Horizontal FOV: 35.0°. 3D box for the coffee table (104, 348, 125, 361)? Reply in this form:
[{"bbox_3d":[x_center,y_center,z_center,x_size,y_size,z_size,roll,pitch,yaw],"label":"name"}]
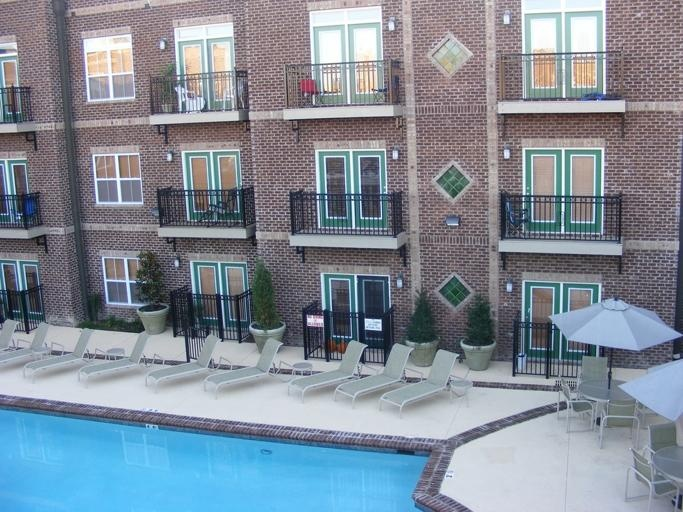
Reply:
[{"bbox_3d":[-6.699,2.903,32.200,0.392,0.261,0.405,-4,15,-20],"label":"coffee table"}]

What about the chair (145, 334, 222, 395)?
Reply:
[{"bbox_3d":[-4.391,3.105,30.571,2.704,1.814,0.937,-7,14,-40],"label":"chair"}]

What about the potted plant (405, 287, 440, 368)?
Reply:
[{"bbox_3d":[2.344,2.144,31.179,0.835,1.905,0.890,0,6,10],"label":"potted plant"}]

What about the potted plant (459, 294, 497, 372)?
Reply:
[{"bbox_3d":[3.894,2.165,30.774,0.962,2.122,0.879,-2,4,7],"label":"potted plant"}]

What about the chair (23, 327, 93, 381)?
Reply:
[{"bbox_3d":[-8.367,2.852,32.075,2.424,1.818,0.957,-6,13,-44],"label":"chair"}]

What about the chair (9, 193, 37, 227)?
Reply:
[{"bbox_3d":[-10.149,-1.472,35.198,0.842,1.111,1.059,-12,9,-44],"label":"chair"}]

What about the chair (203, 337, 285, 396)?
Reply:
[{"bbox_3d":[-2.861,3.051,30.461,2.794,1.597,0.992,-9,15,-36],"label":"chair"}]

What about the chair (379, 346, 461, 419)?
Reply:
[{"bbox_3d":[2.131,3.272,28.645,2.194,1.233,0.774,-10,14,-40],"label":"chair"}]

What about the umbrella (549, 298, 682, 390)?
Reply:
[{"bbox_3d":[6.707,2.181,27.074,1.790,0.964,1.815,-1,18,-8],"label":"umbrella"}]

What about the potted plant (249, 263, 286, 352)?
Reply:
[{"bbox_3d":[-2.234,1.515,32.376,1.270,2.658,1.327,1,14,25],"label":"potted plant"}]

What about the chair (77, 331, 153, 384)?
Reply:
[{"bbox_3d":[-6.589,2.623,31.630,2.262,1.686,0.828,6,2,15],"label":"chair"}]

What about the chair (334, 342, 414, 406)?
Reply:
[{"bbox_3d":[0.932,3.150,29.866,2.790,1.773,0.978,-10,13,-40],"label":"chair"}]
